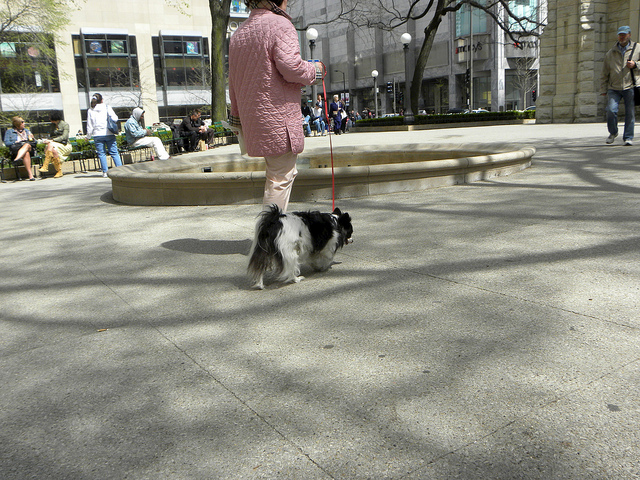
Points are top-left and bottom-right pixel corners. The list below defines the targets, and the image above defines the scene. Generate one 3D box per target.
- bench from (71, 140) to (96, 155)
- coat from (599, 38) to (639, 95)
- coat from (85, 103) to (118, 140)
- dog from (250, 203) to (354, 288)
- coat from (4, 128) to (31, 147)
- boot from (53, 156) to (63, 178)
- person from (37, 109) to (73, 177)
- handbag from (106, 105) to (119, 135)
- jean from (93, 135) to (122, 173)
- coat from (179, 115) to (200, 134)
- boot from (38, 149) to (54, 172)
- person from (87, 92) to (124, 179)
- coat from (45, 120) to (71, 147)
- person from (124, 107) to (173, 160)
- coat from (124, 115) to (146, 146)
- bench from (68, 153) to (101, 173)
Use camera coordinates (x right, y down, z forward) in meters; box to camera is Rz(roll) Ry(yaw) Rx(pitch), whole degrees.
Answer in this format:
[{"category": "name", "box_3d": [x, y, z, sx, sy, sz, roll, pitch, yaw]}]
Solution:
[{"category": "bench", "box_3d": [-8.121, -3.171, 16.840, 0.996, 0.552, 1.222, -7, 12, -28]}, {"category": "coat", "box_3d": [7.159, -4.129, 11.684, 0.796, 1.192, 0.513, 3, 16, 28]}, {"category": "coat", "box_3d": [-5.894, -3.238, 13.218, 0.759, 0.869, 0.440, -10, 15, -23]}, {"category": "dog", "box_3d": [-0.134, 0.062, 4.436, 1.173, 0.651, 0.348, -8, 15, -41]}, {"category": "coat", "box_3d": [-9.500, -3.143, 15.089, 0.382, 0.538, 0.483, -10, 15, -22]}, {"category": "boot", "box_3d": [-7.997, -2.213, 14.934, 0.240, 0.590, 0.527, -11, 16, -27]}, {"category": "person", "box_3d": [-8.219, -2.957, 15.227, 0.898, 1.911, 1.352, -8, 14, -15]}, {"category": "handbag", "box_3d": [-5.605, -3.238, 13.199, 0.224, 0.748, 0.265, -9, 15, -18]}, {"category": "jean", "box_3d": [-5.836, -2.362, 13.503, 0.636, 1.021, 0.520, -6, 14, -6]}, {"category": "coat", "box_3d": [-5.089, -4.453, 19.010, 0.711, 0.609, 0.480, -7, 14, -13]}, {"category": "boot", "box_3d": [-8.437, -2.425, 15.091, 0.305, 0.708, 0.884, -17, 19, -41]}, {"category": "person", "box_3d": [-5.834, -2.815, 13.323, 0.790, 2.226, 0.762, -3, 14, 5]}, {"category": "coat", "box_3d": [-8.164, -3.355, 15.288, 0.652, 0.750, 0.873, -9, 15, -20]}, {"category": "person", "box_3d": [-5.255, -3.182, 14.604, 0.981, 1.476, 1.698, -9, 15, -19]}, {"category": "coat", "box_3d": [-5.414, -3.193, 14.464, 0.638, 0.787, 0.681, 4, 10, 4]}, {"category": "bench", "box_3d": [-7.949, -2.585, 16.467, 0.925, 0.850, 0.709, 1, 2, 24]}]
